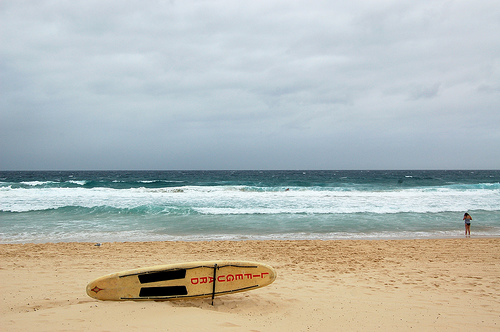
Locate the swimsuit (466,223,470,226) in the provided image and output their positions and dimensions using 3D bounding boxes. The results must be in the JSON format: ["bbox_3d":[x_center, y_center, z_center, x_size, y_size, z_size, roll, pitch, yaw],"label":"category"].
[{"bbox_3d":[10.383,2.761,26.786,0.084,0.120,0.256,-4,-2,29],"label":"swimsuit"}]
